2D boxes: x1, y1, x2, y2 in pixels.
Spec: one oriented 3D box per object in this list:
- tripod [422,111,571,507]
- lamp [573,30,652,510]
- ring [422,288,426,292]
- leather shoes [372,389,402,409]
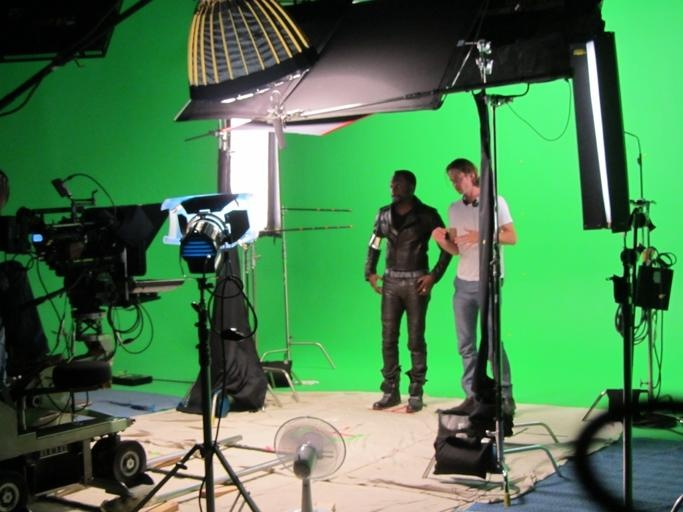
[{"bbox_3d":[1.094,0.184,5.203,0.894,2.587,1.835,-2,1,11],"label":"tripod"},{"bbox_3d":[1.464,0.098,3.884,0.345,2.307,0.751,-2,1,23],"label":"lamp"},{"bbox_3d":[0.720,0.308,6.278,0.032,0.031,0.009,0,4,3],"label":"ring"},{"bbox_3d":[0.413,1.299,6.447,0.291,0.163,0.214,-3,1,-7],"label":"leather shoes"}]
